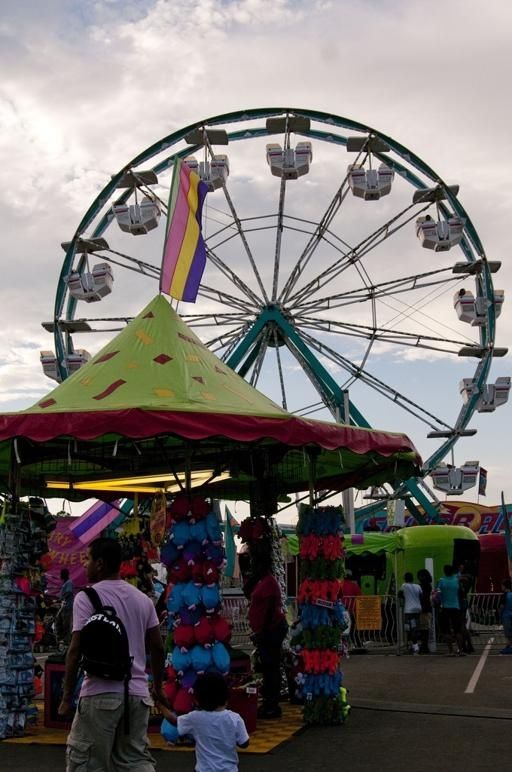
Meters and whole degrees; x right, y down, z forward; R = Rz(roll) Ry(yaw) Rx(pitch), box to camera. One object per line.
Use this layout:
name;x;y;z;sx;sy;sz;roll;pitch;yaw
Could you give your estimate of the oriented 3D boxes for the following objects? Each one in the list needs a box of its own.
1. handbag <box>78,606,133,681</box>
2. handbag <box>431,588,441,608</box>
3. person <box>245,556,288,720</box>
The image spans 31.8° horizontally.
handbag;-0.651;1.137;3.898;0.214;0.298;0.111;0;-3;-10
handbag;2.874;3.406;14.433;0.128;0.316;0.362;-1;-3;7
person;0.105;2.292;7.919;0.327;1.257;0.484;-1;-3;1
